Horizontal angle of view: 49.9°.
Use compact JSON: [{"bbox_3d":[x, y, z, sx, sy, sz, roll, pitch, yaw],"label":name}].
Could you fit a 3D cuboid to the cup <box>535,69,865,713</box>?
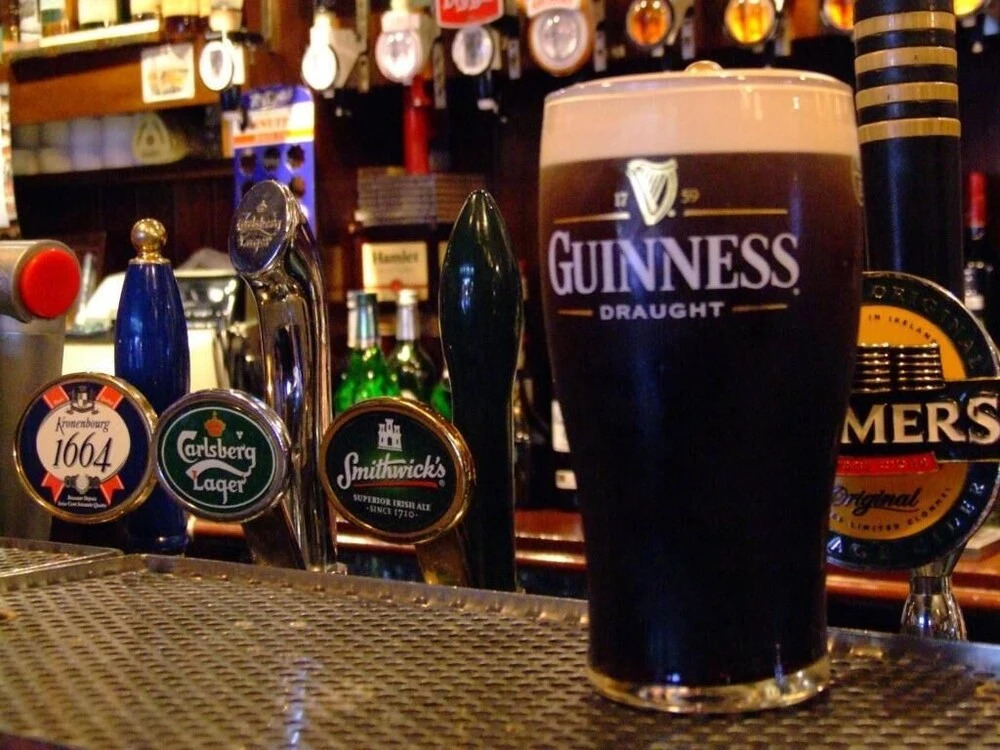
[{"bbox_3d":[0.112,0.001,0.587,0.163,0.326,0.171,-3,11,1],"label":"cup"}]
